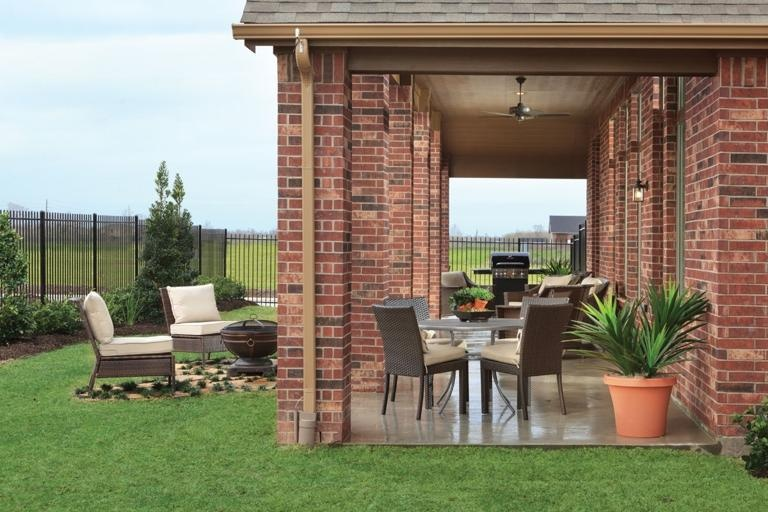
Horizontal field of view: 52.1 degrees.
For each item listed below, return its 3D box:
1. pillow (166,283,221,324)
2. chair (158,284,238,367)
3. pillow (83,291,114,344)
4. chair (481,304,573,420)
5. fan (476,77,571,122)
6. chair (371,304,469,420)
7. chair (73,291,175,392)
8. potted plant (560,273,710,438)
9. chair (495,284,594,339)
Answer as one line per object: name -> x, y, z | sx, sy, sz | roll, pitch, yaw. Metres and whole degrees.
pillow -> -3.348, 0.819, 13.558 | 0.960, 0.717, 0.383 | -7, 5, -32
chair -> -3.122, 1.122, 13.375 | 1.354, 1.425, 1.157 | 2, 4, 38
pillow -> -4.150, 0.856, 11.301 | 0.363, 0.740, 0.364 | -5, 10, -22
chair -> 1.825, 1.228, 10.233 | 0.837, 1.599, 0.952 | 1, -1, -33
fan -> 2.854, -3.100, 15.916 | 1.543, 1.004, 1.518 | 1, -1, -12
chair -> 0.457, 1.299, 10.101 | 1.170, 1.484, 0.892 | -1, 9, -2
chair -> -3.807, 1.160, 11.785 | 1.240, 1.517, 0.994 | 0, -1, -16
potted plant -> 3.102, 1.203, 9.356 | 1.446, 1.759, 0.629 | -1, 9, -2
chair -> 2.738, 1.030, 13.491 | 1.289, 1.103, 1.126 | 1, 0, 19
